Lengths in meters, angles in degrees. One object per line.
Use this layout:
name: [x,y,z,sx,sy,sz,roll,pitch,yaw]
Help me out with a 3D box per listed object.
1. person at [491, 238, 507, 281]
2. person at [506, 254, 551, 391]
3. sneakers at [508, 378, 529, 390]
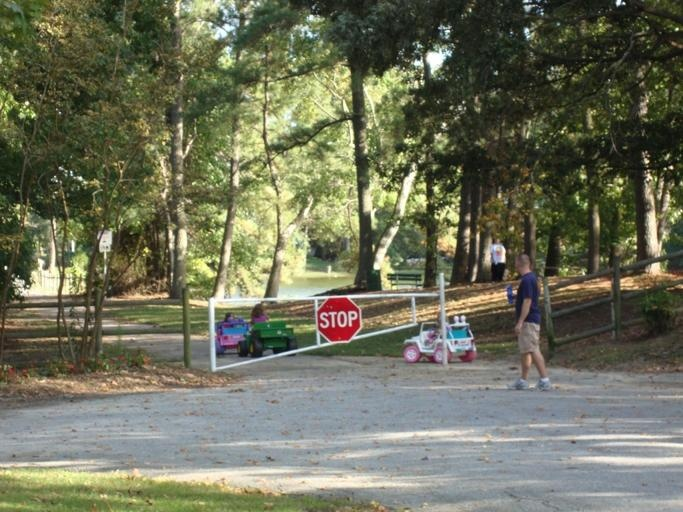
person: [5.831,0.131,52.739,0.528,1.439,1.481,-1,9,6]
person: [4.699,1.557,35.157,0.859,3.239,0.968,0,9,7]
sneakers: [4.367,3.107,35.036,0.451,0.252,0.229,0,1,8]
